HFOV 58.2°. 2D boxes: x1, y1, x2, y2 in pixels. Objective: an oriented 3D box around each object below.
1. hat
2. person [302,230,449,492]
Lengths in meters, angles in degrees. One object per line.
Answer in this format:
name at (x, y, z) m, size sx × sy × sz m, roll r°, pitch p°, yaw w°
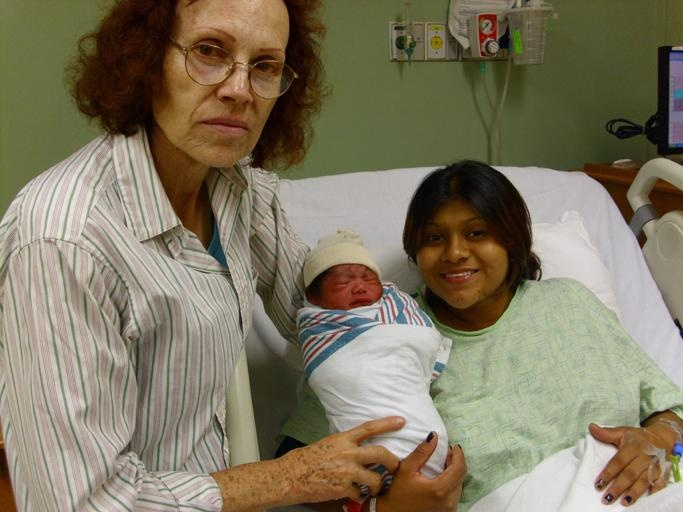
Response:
hat at (-0.005, 0.008, 1.829) m, size 0.185 × 0.163 × 0.203 m, roll -20°, pitch -30°, yaw 23°
person at (0.101, 0.295, 1.722) m, size 0.399 × 0.221 × 0.751 m, roll -2°, pitch 52°, yaw -16°
